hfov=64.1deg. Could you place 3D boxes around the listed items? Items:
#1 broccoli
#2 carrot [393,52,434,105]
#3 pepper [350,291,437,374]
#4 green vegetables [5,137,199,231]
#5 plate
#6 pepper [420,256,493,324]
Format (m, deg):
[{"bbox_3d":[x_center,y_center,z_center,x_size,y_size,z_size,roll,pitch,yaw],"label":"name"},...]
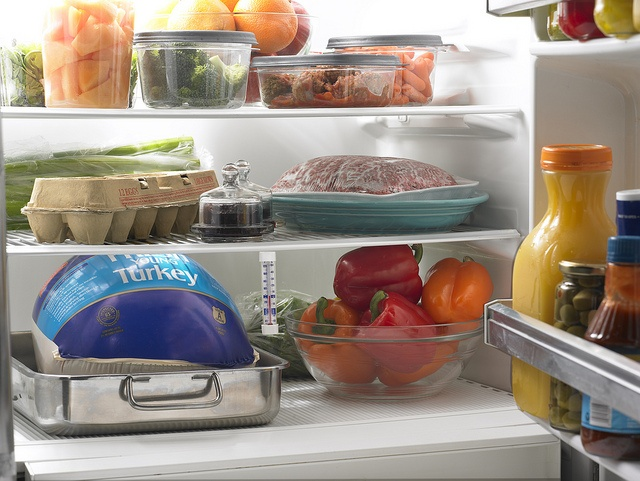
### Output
[{"bbox_3d":[-0.233,-0.303,0.937,0.167,0.069,0.138,0,5,-7],"label":"broccoli"},{"bbox_3d":[0.201,-0.335,1.072,0.112,0.092,0.038,1,12,13],"label":"carrot"},{"bbox_3d":[0.181,0.173,1.109,0.153,0.115,0.112,24,60,8],"label":"pepper"},{"bbox_3d":[-0.511,-0.137,1.218,0.376,0.109,0.226,-4,8,-19],"label":"green vegetables"},{"bbox_3d":[0.122,-0.067,1.082,0.443,0.105,0.182,0,3,13],"label":"plate"},{"bbox_3d":[0.297,0.111,1.102,0.103,0.089,0.121,24,32,5],"label":"pepper"}]
